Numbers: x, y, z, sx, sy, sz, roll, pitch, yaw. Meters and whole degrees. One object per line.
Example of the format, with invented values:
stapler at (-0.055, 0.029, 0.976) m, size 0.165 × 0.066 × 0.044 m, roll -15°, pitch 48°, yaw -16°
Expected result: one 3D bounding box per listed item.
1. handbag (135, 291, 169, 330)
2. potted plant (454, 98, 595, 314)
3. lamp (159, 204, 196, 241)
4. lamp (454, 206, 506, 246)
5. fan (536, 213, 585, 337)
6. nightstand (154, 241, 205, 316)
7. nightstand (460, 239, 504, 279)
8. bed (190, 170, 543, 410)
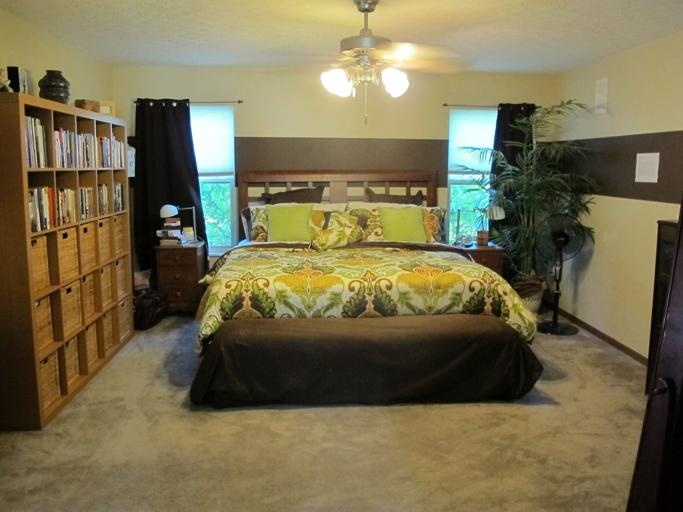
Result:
handbag at (-1.870, 0.503, 5.276) m, size 0.279 × 0.360 × 0.497 m, roll 0°, pitch 8°, yaw 0°
potted plant at (2.173, -0.751, 5.729) m, size 1.235 × 1.696 × 1.209 m, roll -4°, pitch 5°, yaw -20°
lamp at (-1.734, -0.342, 5.575) m, size 0.403 × 0.425 × 0.249 m, roll -2°, pitch 9°, yaw -8°
lamp at (1.529, -0.319, 5.670) m, size 0.466 × 0.451 × 0.262 m, roll -7°, pitch -10°, yaw 32°
fan at (2.202, 0.150, 5.234) m, size 0.368 × 1.188 × 0.687 m, roll 6°, pitch 14°, yaw 24°
nightstand at (-1.755, 0.221, 5.645) m, size 0.413 × 0.678 × 0.496 m, roll -2°, pitch 6°, yaw -19°
nightstand at (1.489, -0.030, 5.674) m, size 0.474 × 0.463 × 0.355 m, roll -1°, pitch 8°, yaw -2°
bed at (0.133, 0.241, 4.495) m, size 2.560 × 1.155 × 2.090 m, roll 0°, pitch 13°, yaw -2°
